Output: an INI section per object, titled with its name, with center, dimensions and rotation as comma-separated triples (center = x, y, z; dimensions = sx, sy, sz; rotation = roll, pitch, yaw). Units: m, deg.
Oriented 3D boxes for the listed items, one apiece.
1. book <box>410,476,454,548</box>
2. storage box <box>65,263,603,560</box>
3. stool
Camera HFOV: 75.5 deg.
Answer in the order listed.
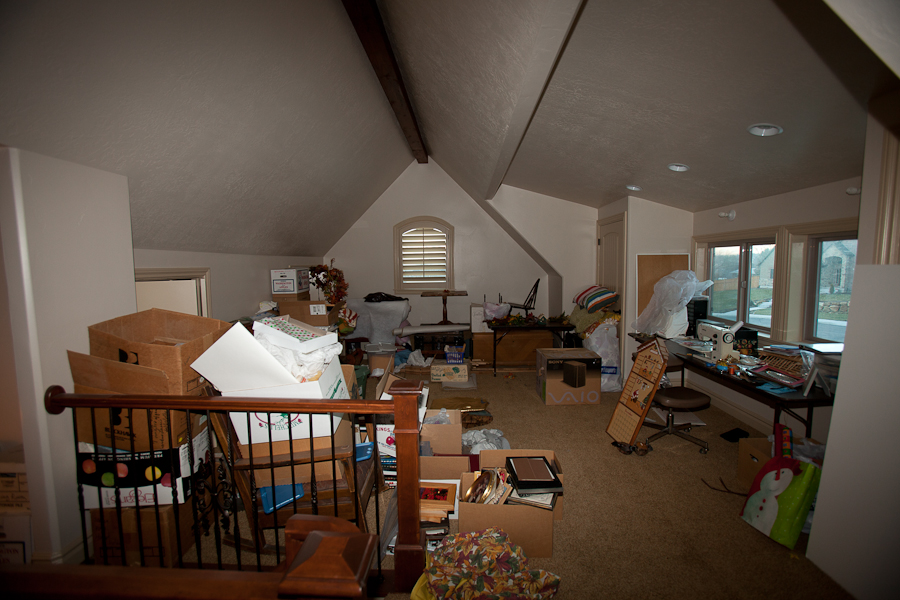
[book]
center = -0.100, 1.583, 4.335
dimensions = 0.408, 0.531, 0.442
rotation = -2, -25, 3
[storage box]
center = -1.000, 0.980, 4.838
dimensions = 3.114, 1.995, 1.687
rotation = 0, 2, -3
[stool]
center = 2.102, 1.096, 5.516
dimensions = 0.606, 0.571, 0.604
rotation = 4, 12, 14
